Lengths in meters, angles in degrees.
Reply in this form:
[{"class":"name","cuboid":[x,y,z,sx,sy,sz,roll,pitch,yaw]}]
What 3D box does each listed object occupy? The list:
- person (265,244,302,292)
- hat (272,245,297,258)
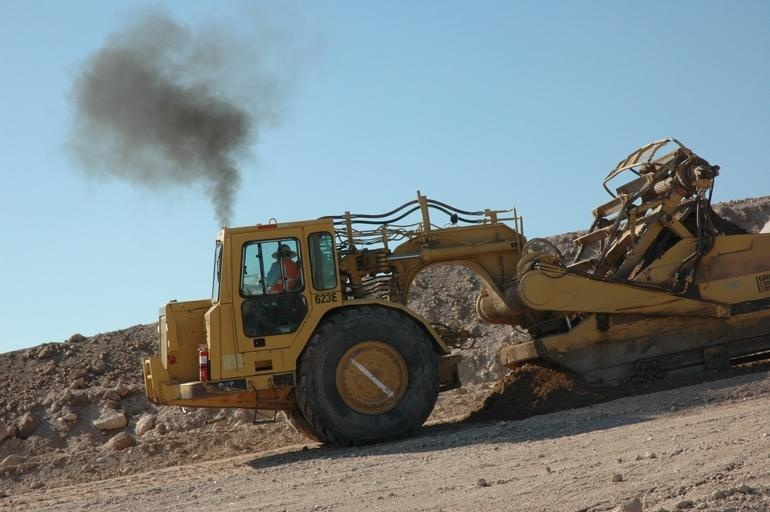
[{"class":"person","cuboid":[-1.718,0.219,18.603,0.668,1.109,0.589,2,3,-14]},{"class":"hat","cuboid":[-1.680,-0.054,18.663,0.237,0.115,0.252,0,-20,-2]}]
